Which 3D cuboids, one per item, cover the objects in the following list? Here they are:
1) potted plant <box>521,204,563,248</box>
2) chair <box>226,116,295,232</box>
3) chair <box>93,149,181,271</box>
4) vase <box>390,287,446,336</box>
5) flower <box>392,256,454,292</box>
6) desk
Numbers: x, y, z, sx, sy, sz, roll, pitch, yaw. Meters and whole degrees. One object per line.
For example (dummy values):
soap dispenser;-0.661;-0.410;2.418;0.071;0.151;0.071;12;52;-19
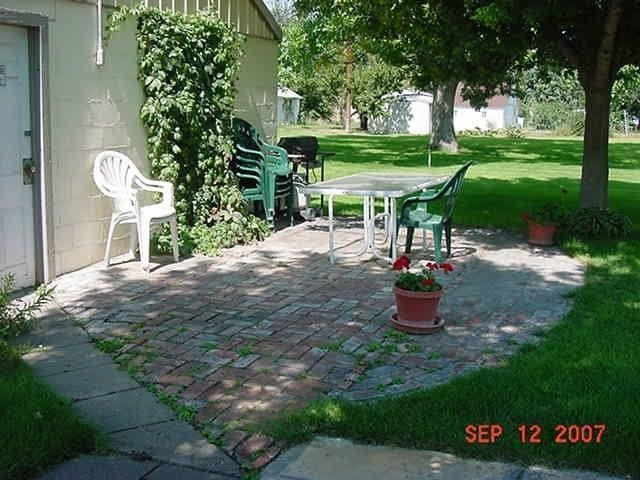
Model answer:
potted plant;3.588;-0.263;8.378;0.532;0.576;0.769;9;16;31
chair;-1.044;-1.156;8.987;0.824;1.913;1.425;8;16;30
chair;-2.370;-0.481;7.003;0.967;1.471;1.196;4;14;14
vase;0.931;0.633;4.952;0.502;0.365;0.499;2;5;22
flower;0.899;0.344;5.083;0.558;0.257;0.554;0;3;-15
desk;0.679;-0.582;7.366;1.420;1.061;2.170;3;10;22
